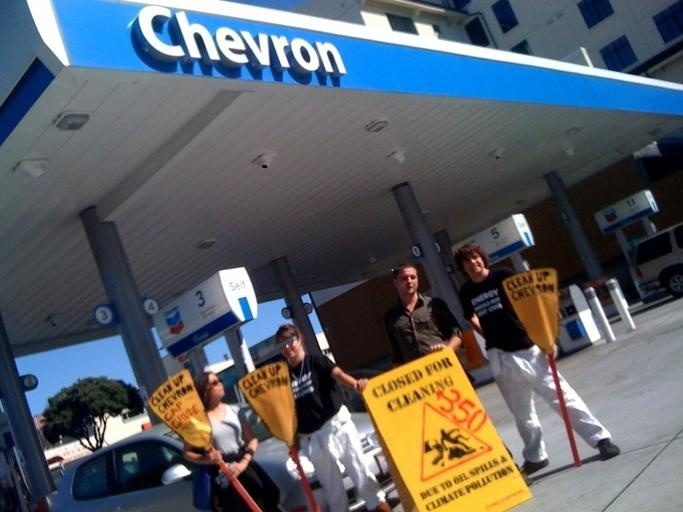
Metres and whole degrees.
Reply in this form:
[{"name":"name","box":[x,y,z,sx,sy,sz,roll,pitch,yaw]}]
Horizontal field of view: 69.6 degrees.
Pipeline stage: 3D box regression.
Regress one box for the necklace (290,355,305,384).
[{"name":"necklace","box":[-0.437,1.146,4.838,0.044,0.208,0.133,13,-13,-35]}]

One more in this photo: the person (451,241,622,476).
[{"name":"person","box":[1.979,1.162,5.106,1.181,2.554,0.722,-26,-17,24]}]

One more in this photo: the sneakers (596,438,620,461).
[{"name":"sneakers","box":[2.430,1.743,4.490,0.188,0.174,0.191,-24,-13,22]}]
